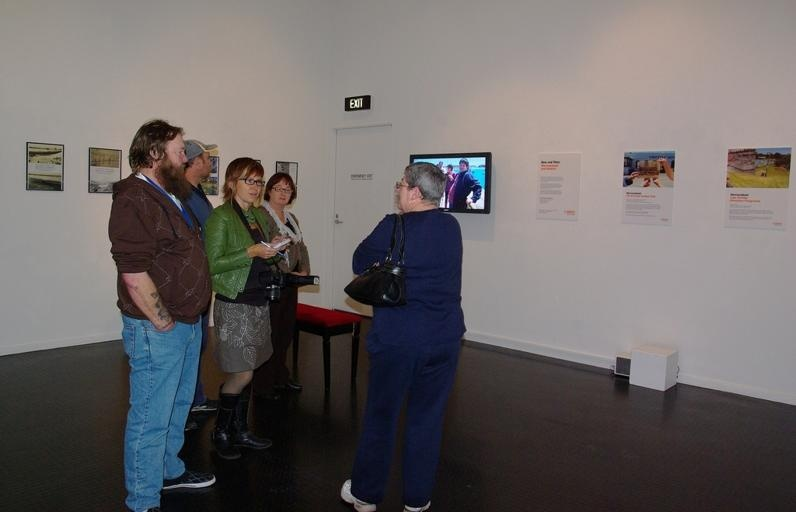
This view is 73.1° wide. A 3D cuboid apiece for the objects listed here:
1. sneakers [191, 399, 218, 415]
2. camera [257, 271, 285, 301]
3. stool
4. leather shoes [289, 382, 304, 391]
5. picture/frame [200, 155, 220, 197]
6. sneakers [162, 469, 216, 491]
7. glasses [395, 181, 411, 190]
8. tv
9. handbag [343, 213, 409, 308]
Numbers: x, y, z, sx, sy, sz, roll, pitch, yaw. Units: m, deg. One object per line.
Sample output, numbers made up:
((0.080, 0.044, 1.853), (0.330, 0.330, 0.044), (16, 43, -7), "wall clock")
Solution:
((-1.795, 1.388, 4.941), (0.248, 0.111, 0.091), (-6, 9, -27), "sneakers")
((-0.976, 0.226, 4.133), (0.183, 0.285, 0.209), (0, -2, -4), "camera")
((-0.697, 1.006, 5.672), (0.373, 0.616, 0.672), (-10, -7, 33), "stool")
((-1.036, 1.309, 5.392), (0.119, 0.054, 0.066), (8, -4, 9), "leather shoes")
((-2.575, -1.077, 7.122), (0.307, 0.423, 0.008), (0, 7, -22), "picture/frame")
((-1.548, 1.664, 3.960), (0.350, 0.141, 0.134), (-1, -5, -14), "sneakers")
((0.041, -0.477, 3.586), (0.074, 0.024, 0.073), (7, 2, -21), "glasses")
((0.620, -0.754, 5.591), (0.907, 0.661, 0.095), (6, 6, 30), "tv")
((-0.147, 0.048, 3.435), (0.384, 0.601, 0.210), (0, 13, -7), "handbag")
